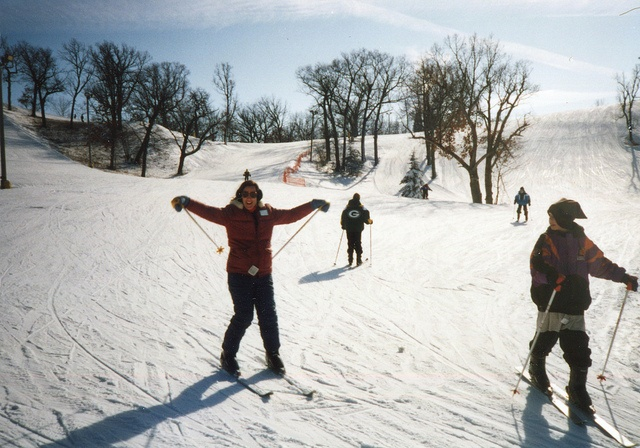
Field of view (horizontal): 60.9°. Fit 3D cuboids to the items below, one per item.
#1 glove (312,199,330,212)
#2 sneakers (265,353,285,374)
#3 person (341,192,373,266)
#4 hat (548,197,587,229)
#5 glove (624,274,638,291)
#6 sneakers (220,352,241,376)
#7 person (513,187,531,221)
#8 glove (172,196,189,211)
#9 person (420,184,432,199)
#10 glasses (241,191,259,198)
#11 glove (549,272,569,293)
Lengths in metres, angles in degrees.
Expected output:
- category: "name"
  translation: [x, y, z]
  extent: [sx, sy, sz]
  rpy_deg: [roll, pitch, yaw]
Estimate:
- category: "glove"
  translation: [0.008, -0.395, 11.528]
  extent: [0.221, 0.182, 0.336]
  rpy_deg: [26, -9, -32]
- category: "sneakers"
  translation: [-0.931, 2.923, 11.317]
  extent: [0.533, 0.224, 0.250]
  rpy_deg: [37, 33, 30]
- category: "person"
  translation: [1.097, 0.159, 16.733]
  extent: [0.888, 2.215, 0.519]
  rpy_deg: [1, 7, 1]
- category: "hat"
  translation: [5.002, -0.198, 11.007]
  extent: [0.650, 0.601, 0.549]
  rpy_deg: [6, -9, 14]
- category: "glove"
  translation: [6.161, 1.159, 10.706]
  extent: [0.116, 0.330, 0.245]
  rpy_deg: [-40, -5, 4]
- category: "sneakers"
  translation: [-1.858, 2.883, 11.298]
  extent: [0.619, 0.281, 0.252]
  rpy_deg: [30, 19, 32]
- category: "person"
  translation: [8.490, -0.851, 22.679]
  extent: [0.536, 1.407, 1.755]
  rpy_deg: [3, 7, 20]
- category: "glove"
  translation: [-2.822, -0.410, 10.977]
  extent: [0.333, 0.289, 0.321]
  rpy_deg: [-1, 7, -12]
- category: "person"
  translation: [6.884, -2.120, 35.566]
  extent: [0.455, 1.006, 1.978]
  rpy_deg: [2, 7, 10]
- category: "glasses"
  translation: [-1.432, -0.597, 11.051]
  extent: [0.329, 0.134, 0.122]
  rpy_deg: [0, 7, -7]
- category: "glove"
  translation: [4.773, 1.127, 10.792]
  extent: [0.379, 0.134, 0.274]
  rpy_deg: [-38, 22, -10]
